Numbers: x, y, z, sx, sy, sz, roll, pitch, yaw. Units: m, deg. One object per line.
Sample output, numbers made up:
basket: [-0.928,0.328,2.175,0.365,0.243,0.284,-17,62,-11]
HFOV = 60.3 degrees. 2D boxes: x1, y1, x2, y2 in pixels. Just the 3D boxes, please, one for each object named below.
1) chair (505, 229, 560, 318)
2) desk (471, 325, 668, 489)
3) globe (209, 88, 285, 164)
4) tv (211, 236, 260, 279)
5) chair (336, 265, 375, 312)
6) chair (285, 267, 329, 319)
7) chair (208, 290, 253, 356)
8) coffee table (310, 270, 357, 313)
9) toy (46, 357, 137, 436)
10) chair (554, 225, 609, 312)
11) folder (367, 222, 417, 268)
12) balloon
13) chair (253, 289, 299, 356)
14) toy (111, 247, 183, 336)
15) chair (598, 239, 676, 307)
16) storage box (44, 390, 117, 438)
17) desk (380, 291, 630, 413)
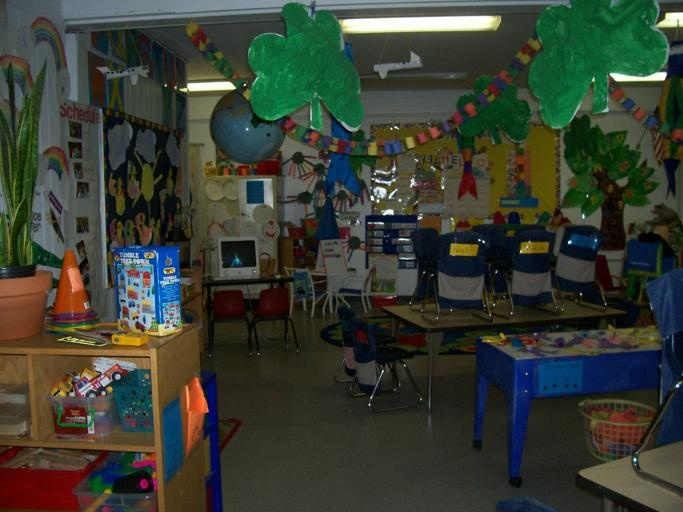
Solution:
chair: [1.825,0.093,5.717,0.430,0.796,0.494,-4,15,0]
desk: [1.702,1.071,4.469,1.581,0.868,0.725,2,7,-27]
globe: [-0.675,-0.886,4.167,0.476,0.547,0.315,-4,-18,-17]
tv: [-1.301,0.037,7.283,0.458,0.519,0.183,0,-4,-21]
chair: [0.251,0.538,9.613,0.510,0.772,0.461,3,7,4]
chair: [-0.485,0.530,9.021,0.627,0.839,0.631,-7,10,-31]
chair: [-1.323,0.720,7.136,0.518,0.856,0.583,3,20,7]
coffee table: [-0.127,0.507,9.505,0.598,0.814,0.643,1,6,10]
toy: [-1.309,0.729,3.069,0.259,0.218,0.438,0,-3,-5]
chair: [2.436,0.043,6.034,0.434,0.867,0.529,5,18,16]
folder: [0.855,-0.193,9.527,0.651,0.760,0.077,0,3,2]
balloon: [-0.663,-0.901,4.149,0.485,0.527,0.320,-4,-25,-20]
chair: [-0.833,0.709,7.417,0.590,0.813,1.193,-2,9,-9]
toy: [-0.965,0.181,2.942,0.340,0.518,0.172,4,16,16]
chair: [3.633,0.194,7.265,0.782,1.284,1.080,1,4,42]
storage box: [-1.310,0.809,2.952,0.210,0.152,0.227,-1,-1,-4]
desk: [1.872,0.633,6.022,2.102,0.798,1.416,-6,19,16]
